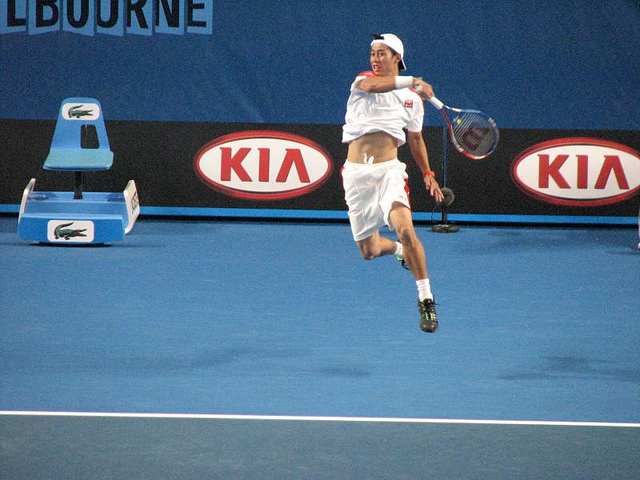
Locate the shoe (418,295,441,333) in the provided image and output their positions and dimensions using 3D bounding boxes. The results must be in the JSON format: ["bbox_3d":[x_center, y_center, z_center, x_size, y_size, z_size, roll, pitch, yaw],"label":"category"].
[{"bbox_3d":[0.605,0.410,4.349,0.106,0.191,0.083,-3,-44,3],"label":"shoe"}]

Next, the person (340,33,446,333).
[{"bbox_3d":[0.431,-0.337,4.761,0.582,1.872,0.898,-2,-23,3],"label":"person"}]
